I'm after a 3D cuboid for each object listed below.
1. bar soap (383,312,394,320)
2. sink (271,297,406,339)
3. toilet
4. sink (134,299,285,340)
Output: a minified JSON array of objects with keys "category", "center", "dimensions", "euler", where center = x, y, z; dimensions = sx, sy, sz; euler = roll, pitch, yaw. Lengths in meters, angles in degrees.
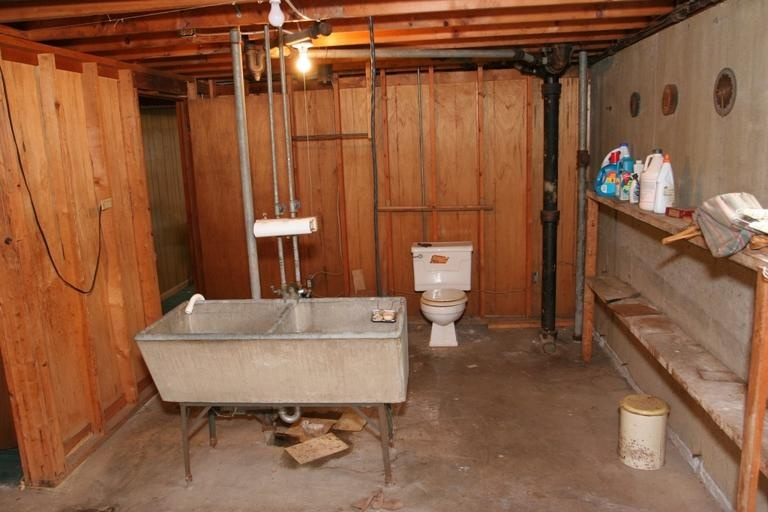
[{"category":"bar soap","center":[0.037,0.426,4.560],"dimensions":[0.052,0.020,0.061],"euler":[2,17,3]},{"category":"sink","center":[-0.345,0.473,4.679],"dimensions":[1.038,0.239,0.426],"euler":[0,15,12]},{"category":"toilet","center":[0.615,0.381,6.450],"dimensions":[0.605,0.963,0.744],"euler":[-3,16,4]},{"category":"sink","center":[-1.215,0.483,4.739],"dimensions":[0.665,0.197,0.433],"euler":[2,16,6]}]
